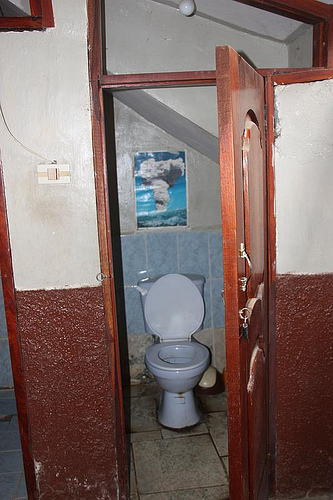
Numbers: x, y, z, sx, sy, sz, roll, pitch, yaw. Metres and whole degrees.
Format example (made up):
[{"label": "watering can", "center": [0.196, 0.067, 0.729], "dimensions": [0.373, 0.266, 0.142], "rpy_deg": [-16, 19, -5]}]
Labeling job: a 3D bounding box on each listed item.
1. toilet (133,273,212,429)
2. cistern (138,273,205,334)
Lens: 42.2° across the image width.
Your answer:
[{"label": "toilet", "center": [0.035, 0.560, 2.473], "dimensions": [0.406, 0.825, 0.538], "rpy_deg": [-2, 8, 0]}, {"label": "cistern", "center": [0.021, 0.294, 2.655], "dimensions": [0.485, 0.263, 0.421], "rpy_deg": [-1, 46, 2]}]
